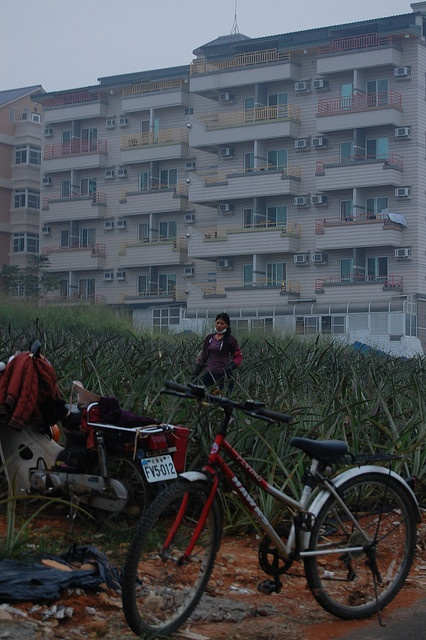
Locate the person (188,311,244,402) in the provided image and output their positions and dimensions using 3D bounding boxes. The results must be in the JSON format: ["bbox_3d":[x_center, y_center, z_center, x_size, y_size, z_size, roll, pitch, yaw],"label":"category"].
[{"bbox_3d":[0.037,0.725,8.926,0.572,1.494,0.542,4,18,-1],"label":"person"}]

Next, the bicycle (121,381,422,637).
[{"bbox_3d":[0.192,0.887,3.136,1.570,0.983,0.775,9,-14,-28],"label":"bicycle"}]

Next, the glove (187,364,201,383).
[{"bbox_3d":[-0.217,0.671,8.203,0.064,0.078,0.265,8,26,16],"label":"glove"}]
